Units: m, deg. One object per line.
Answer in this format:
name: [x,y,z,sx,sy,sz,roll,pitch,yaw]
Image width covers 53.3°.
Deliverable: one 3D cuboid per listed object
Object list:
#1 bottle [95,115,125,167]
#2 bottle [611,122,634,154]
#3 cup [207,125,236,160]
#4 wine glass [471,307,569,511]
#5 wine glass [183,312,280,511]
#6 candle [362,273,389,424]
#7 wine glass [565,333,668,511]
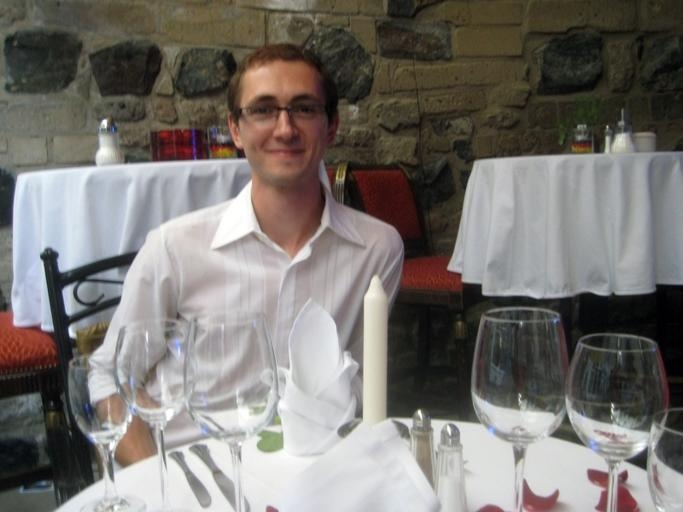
bottle: [-0.981,-0.470,2.863,0.101,0.213,0.099,1,7,0]
bottle: [1.255,-0.523,2.983,0.098,0.151,0.202,2,3,18]
cup: [-0.512,-0.459,2.815,0.061,0.145,0.134,-12,9,-4]
wine glass: [0.291,0.251,1.095,0.153,0.304,0.075,1,3,11]
wine glass: [-0.184,0.254,1.129,0.149,0.320,0.070,1,3,9]
candle: [0.055,0.151,1.091,0.036,0.235,0.029,0,3,-4]
wine glass: [0.437,0.271,1.081,0.150,0.252,0.060,2,3,25]
